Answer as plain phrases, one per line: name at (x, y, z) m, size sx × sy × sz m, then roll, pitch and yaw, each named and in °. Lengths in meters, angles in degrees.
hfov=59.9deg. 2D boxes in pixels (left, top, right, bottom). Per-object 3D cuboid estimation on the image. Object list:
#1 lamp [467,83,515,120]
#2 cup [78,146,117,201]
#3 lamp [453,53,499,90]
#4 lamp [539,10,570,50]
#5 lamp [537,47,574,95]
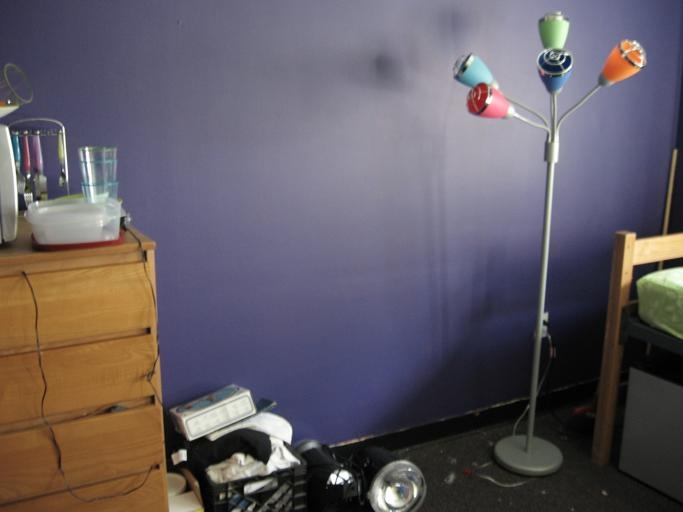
lamp at (0.658, -0.681, 2.595) m, size 0.200 × 0.153 × 0.124 m, roll -13°, pitch 20°, yaw -33°
cup at (-0.859, -0.298, 2.121) m, size 0.096 × 0.183 × 0.184 m, roll 2°, pitch 17°, yaw 13°
lamp at (0.596, -0.841, 2.562) m, size 0.100 × 0.101 × 0.212 m, roll 0°, pitch -13°, yaw -4°
lamp at (0.938, -1.003, 2.697) m, size 0.155 × 0.195 × 0.165 m, roll 2°, pitch 10°, yaw 12°
lamp at (0.931, -0.812, 2.601) m, size 0.135 × 0.198 × 0.137 m, roll 4°, pitch 17°, yaw 19°
